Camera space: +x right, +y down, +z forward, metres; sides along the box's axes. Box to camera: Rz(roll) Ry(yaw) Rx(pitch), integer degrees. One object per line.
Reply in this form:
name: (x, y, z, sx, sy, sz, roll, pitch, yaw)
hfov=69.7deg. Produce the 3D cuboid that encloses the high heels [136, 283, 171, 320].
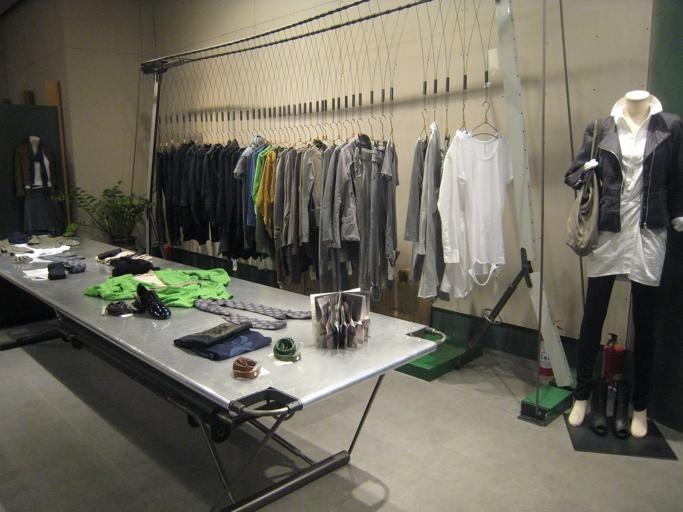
high heels: (-1.193, 0.269, 3.115, 0.115, 0.147, 0.347, -21, 37, -34)

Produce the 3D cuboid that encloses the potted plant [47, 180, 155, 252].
potted plant: (-3.500, -0.655, 7.271, 0.927, 1.221, 1.093, -3, 10, 42)

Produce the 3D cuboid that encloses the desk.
desk: (-0.918, 0.762, 3.250, 2.994, 0.970, 1.158, 12, 19, 39)

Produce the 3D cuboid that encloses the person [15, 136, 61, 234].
person: (-4.014, -0.929, 6.449, 0.379, 1.270, 0.302, -3, 13, -13)

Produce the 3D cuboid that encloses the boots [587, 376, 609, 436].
boots: (1.733, 1.041, 3.410, 0.120, 0.287, 0.376, 3, 14, 21)
